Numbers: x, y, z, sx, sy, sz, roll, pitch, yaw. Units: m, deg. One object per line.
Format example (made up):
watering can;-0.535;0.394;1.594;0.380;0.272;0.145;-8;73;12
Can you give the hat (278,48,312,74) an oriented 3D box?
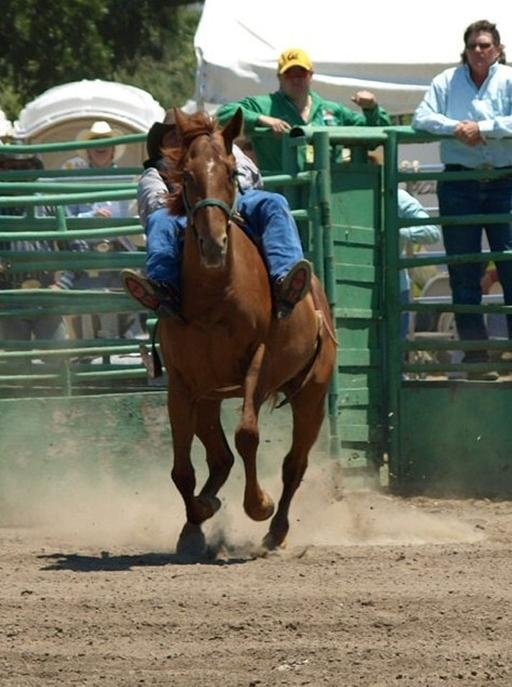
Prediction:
hat;0.283;-2.001;7.800;0.231;0.191;0.259;0;8;-2

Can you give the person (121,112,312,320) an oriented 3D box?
person;-0.249;-0.544;5.852;1.001;1.237;1.089;-4;-22;-1

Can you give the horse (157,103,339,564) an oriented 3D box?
horse;-0.133;0.138;6.052;0.994;2.025;2.834;1;-13;12
